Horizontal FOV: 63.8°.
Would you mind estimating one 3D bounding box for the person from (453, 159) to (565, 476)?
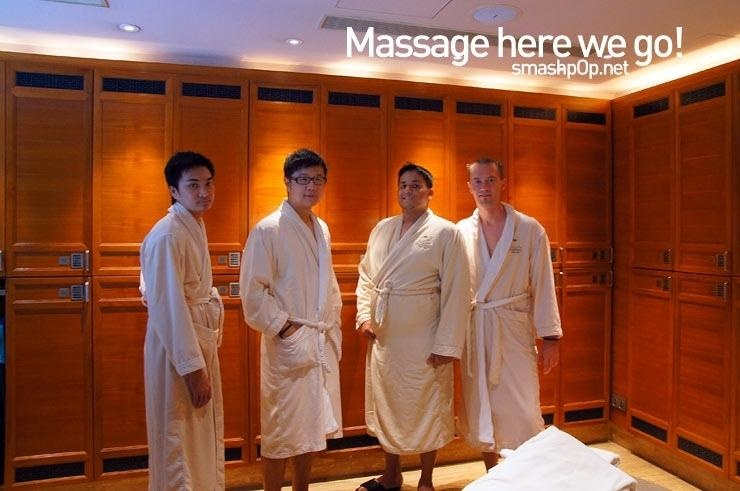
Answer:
[{"bbox_3d":[0.936,0.660,4.557,1.020,2.555,0.742,-4,8,1],"label":"person"}]

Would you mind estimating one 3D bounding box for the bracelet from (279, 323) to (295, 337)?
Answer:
[{"bbox_3d":[-0.560,0.571,3.994,0.076,0.095,0.097,16,-11,-15],"label":"bracelet"}]
